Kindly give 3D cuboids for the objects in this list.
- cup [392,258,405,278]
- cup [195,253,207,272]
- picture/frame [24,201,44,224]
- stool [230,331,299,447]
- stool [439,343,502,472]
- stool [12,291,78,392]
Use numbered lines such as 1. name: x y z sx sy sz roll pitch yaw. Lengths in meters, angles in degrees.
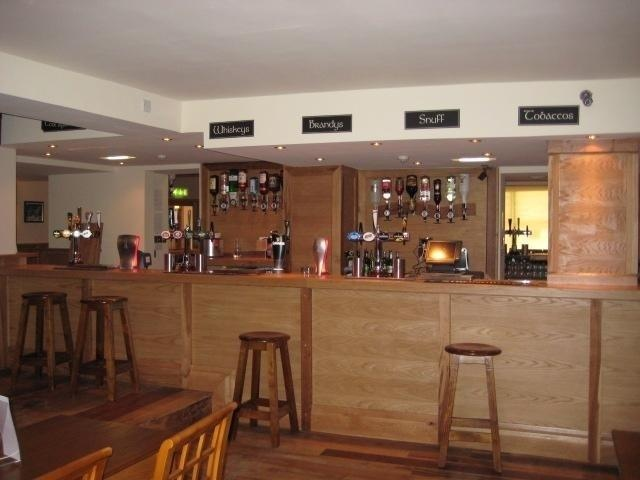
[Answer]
1. cup: 0.736 0.261 4.690 0.096 0.179 0.188 0 4 3
2. cup: -1.270 0.233 5.246 0.109 0.187 0.270 -1 5 -17
3. picture/frame: -6.487 -0.652 11.178 0.040 0.528 0.591 2 2 34
4. stool: -0.486 1.274 4.394 0.587 0.974 0.713 0 5 -3
5. stool: 1.209 1.288 4.000 0.508 0.989 0.612 1 5 13
6. stool: -2.892 0.995 5.158 0.553 0.986 1.033 -2 5 -26
